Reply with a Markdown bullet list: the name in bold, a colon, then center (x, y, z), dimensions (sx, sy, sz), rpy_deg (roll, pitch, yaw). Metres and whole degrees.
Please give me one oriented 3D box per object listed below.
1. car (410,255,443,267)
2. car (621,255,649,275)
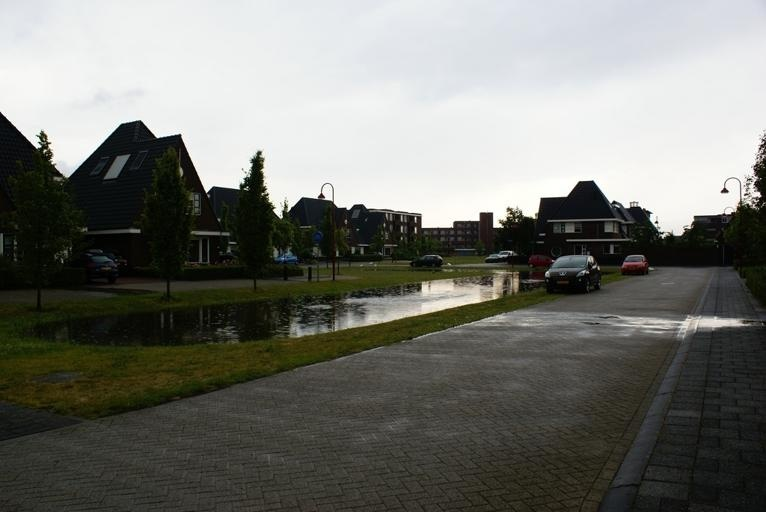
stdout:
- **car**: center (4.411, 0.664, 60.442), dimensions (2.465, 0.962, 1.420), rpy_deg (3, 2, 25)
- **car**: center (17.399, 0.663, 42.239), dimensions (1.163, 0.992, 2.116), rpy_deg (-4, -7, 28)
